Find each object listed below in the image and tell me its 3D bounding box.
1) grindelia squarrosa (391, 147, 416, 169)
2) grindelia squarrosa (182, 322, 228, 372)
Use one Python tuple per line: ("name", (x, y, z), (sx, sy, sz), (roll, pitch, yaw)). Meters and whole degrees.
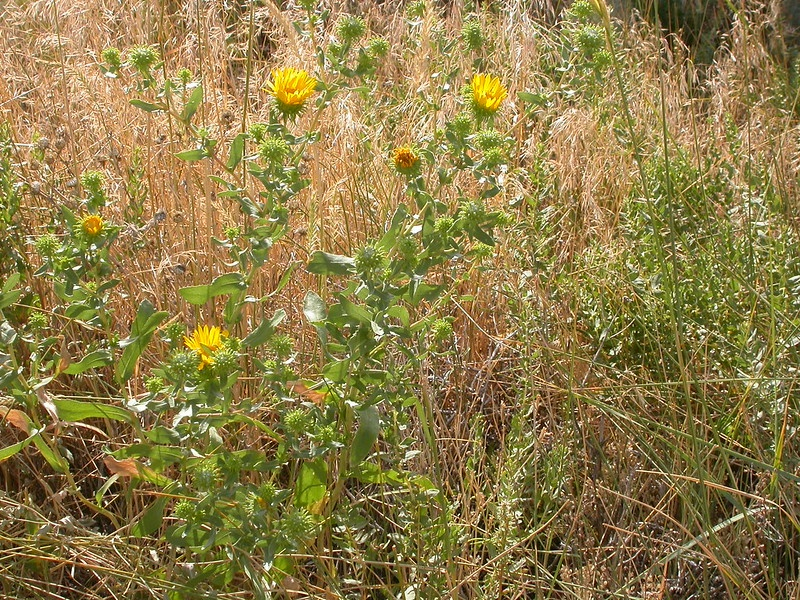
("grindelia squarrosa", (0.013, -0.360, 1.814), (0.064, 0.050, 0.053), (-9, 28, 2))
("grindelia squarrosa", (-0.444, 0.112, 1.665), (0.076, 0.081, 0.065), (-23, 31, -24))
